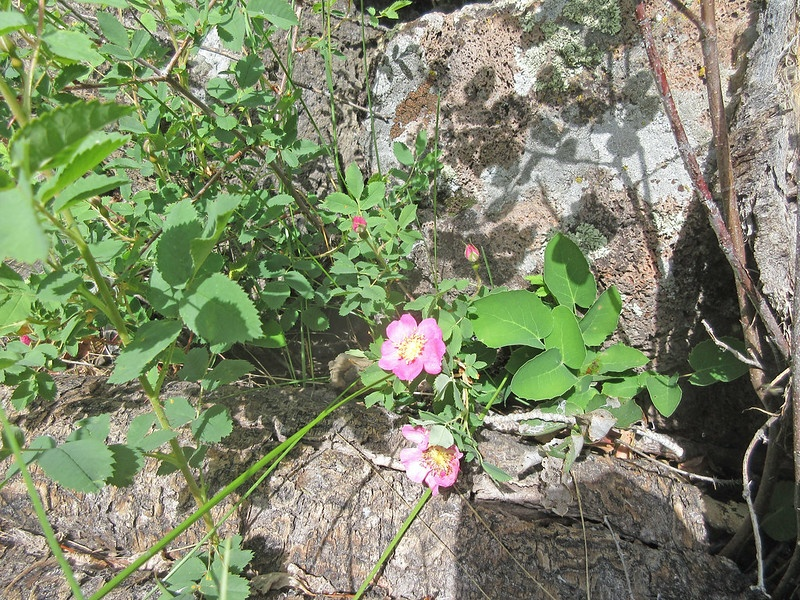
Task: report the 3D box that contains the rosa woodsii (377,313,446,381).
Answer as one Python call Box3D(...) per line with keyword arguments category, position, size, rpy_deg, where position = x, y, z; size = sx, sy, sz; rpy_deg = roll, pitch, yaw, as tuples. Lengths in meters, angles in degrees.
Box3D(category="rosa woodsii", position=(0.011, 0.163, 2.934), size=(0.218, 0.077, 0.208), rpy_deg=(5, 30, -50))

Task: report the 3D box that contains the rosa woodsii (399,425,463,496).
Box3D(category="rosa woodsii", position=(0.134, 0.566, 2.751), size=(0.201, 0.080, 0.171), rpy_deg=(-1, 8, 33))
